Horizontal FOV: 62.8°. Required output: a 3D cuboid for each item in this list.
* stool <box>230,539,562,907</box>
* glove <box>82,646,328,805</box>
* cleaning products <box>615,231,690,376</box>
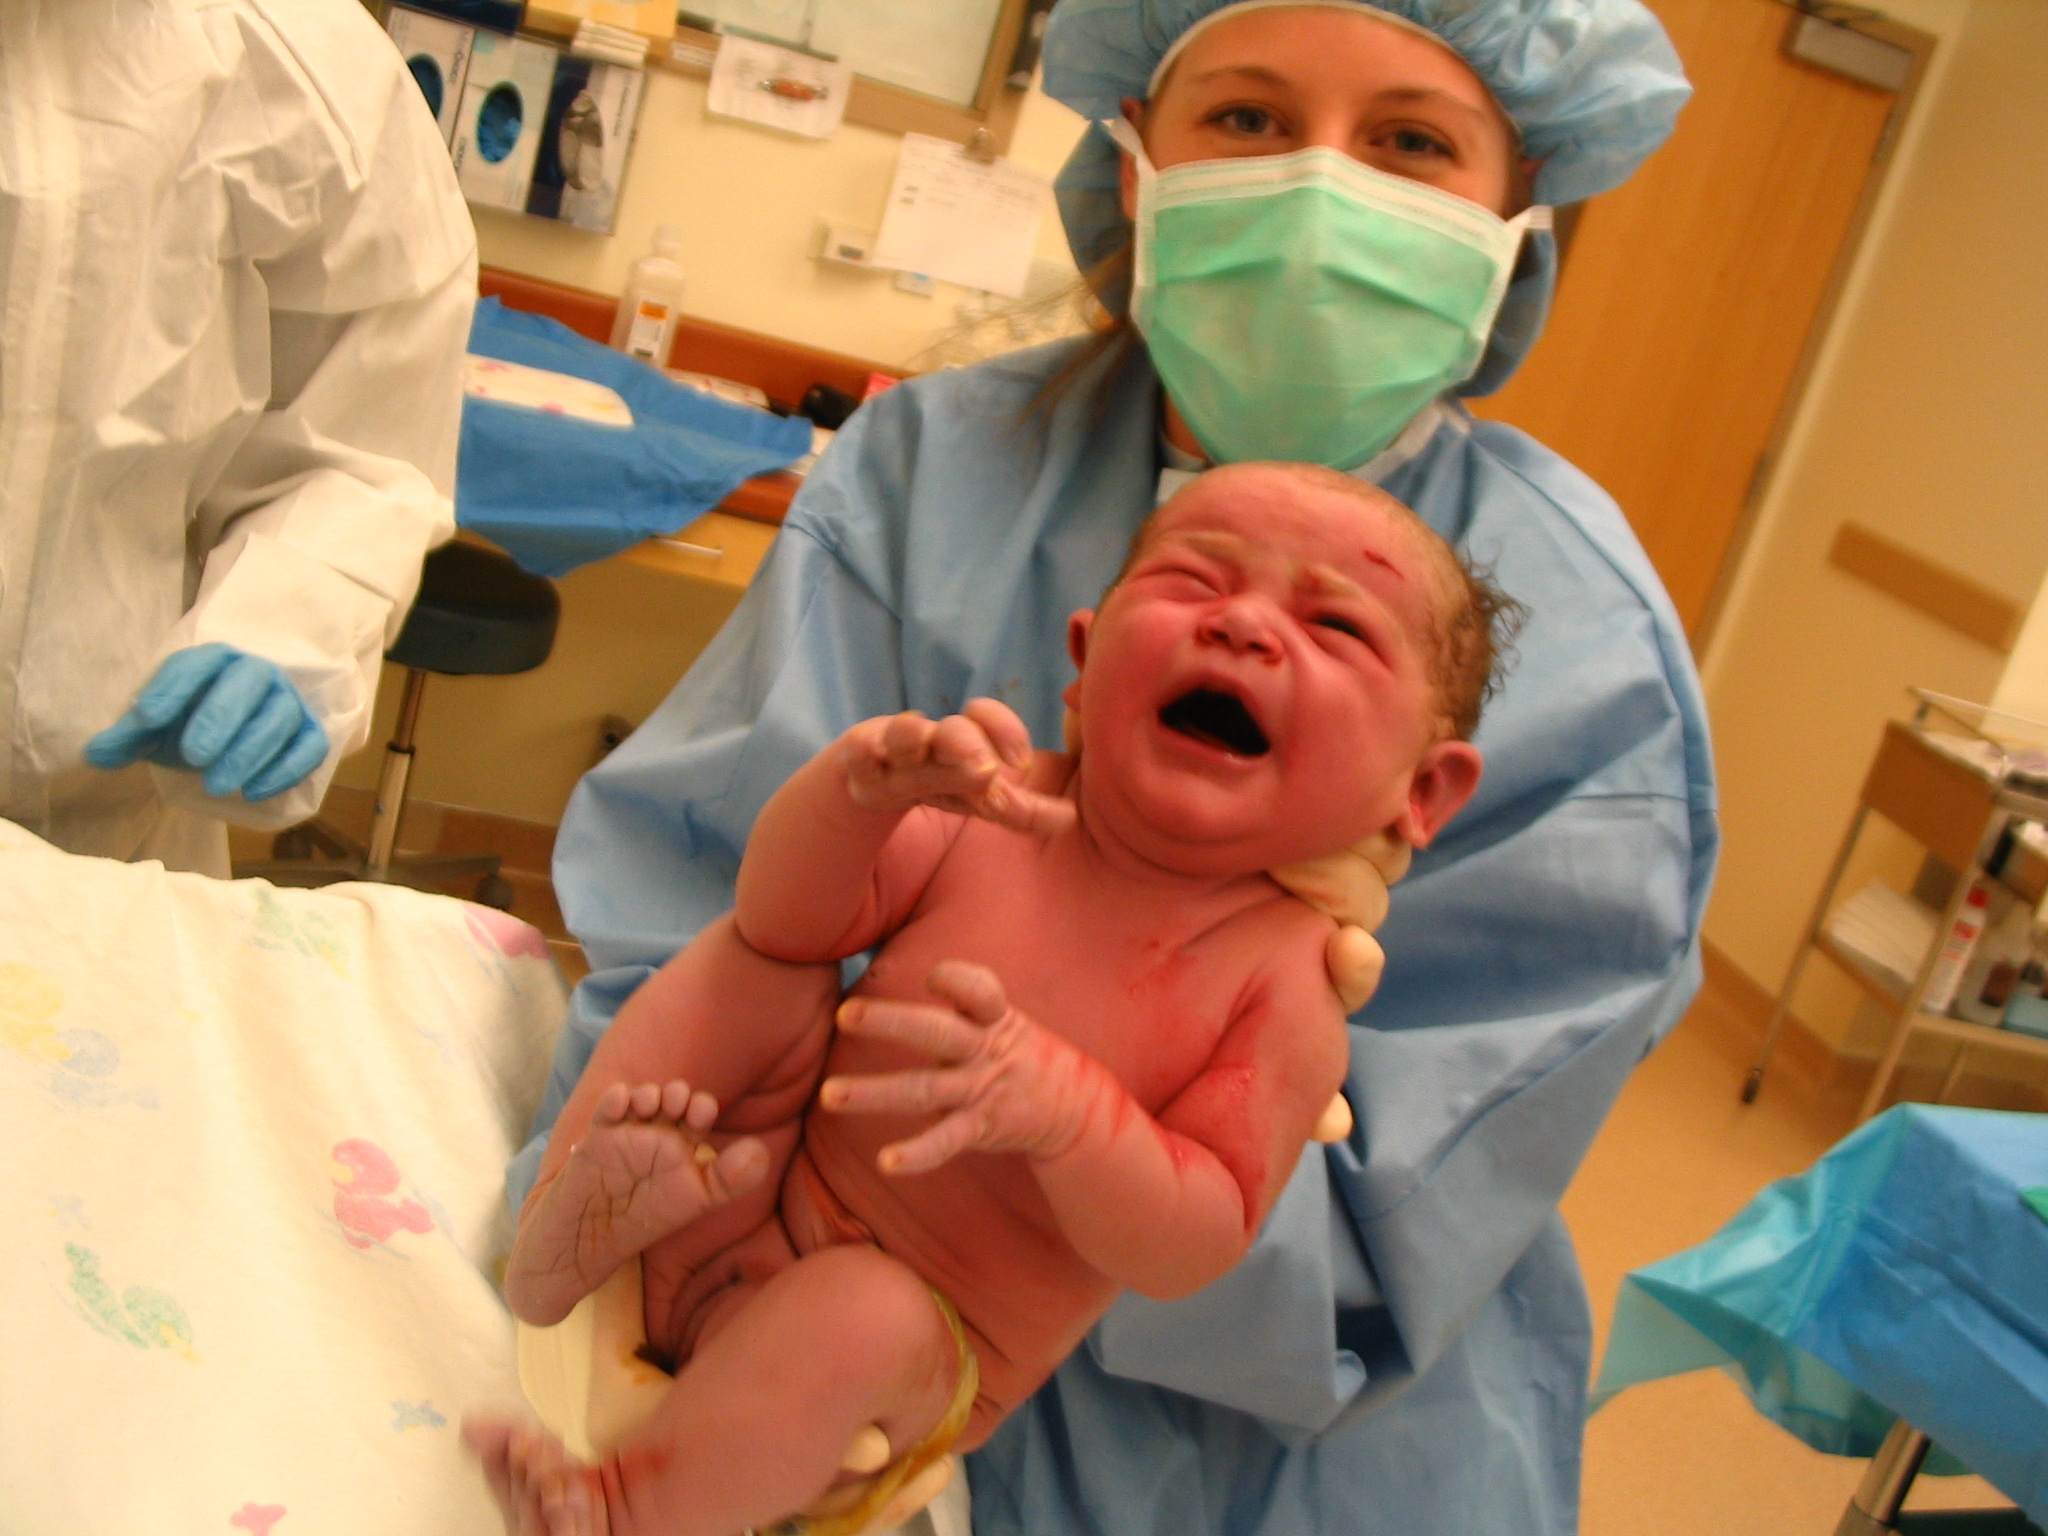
[{"bbox_3d":[-1.034,-0.023,2.809,0.369,0.561,0.398,8,-7,-14],"label":"stool"},{"bbox_3d":[-0.708,-0.030,1.466,0.192,0.134,0.103,4,22,-34],"label":"glove"},{"bbox_3d":[-0.671,-0.882,3.044,0.105,0.300,0.109,-2,55,-27],"label":"cleaning products"}]
